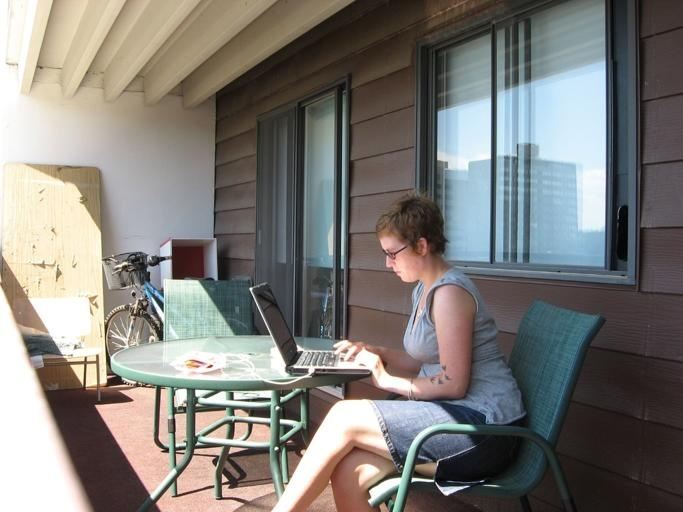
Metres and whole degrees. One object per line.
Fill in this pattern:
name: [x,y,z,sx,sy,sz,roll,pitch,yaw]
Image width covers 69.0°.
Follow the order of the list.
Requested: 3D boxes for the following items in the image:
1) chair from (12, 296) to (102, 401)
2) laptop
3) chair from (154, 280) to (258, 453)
chair: [-2.500,0.895,4.637,0.926,1.224,0.843,3,3,-24]
laptop: [-0.192,0.307,2.330,0.554,0.398,0.654,1,-1,-5]
chair: [-0.992,0.744,3.659,0.591,1.121,0.679,1,-2,-15]
